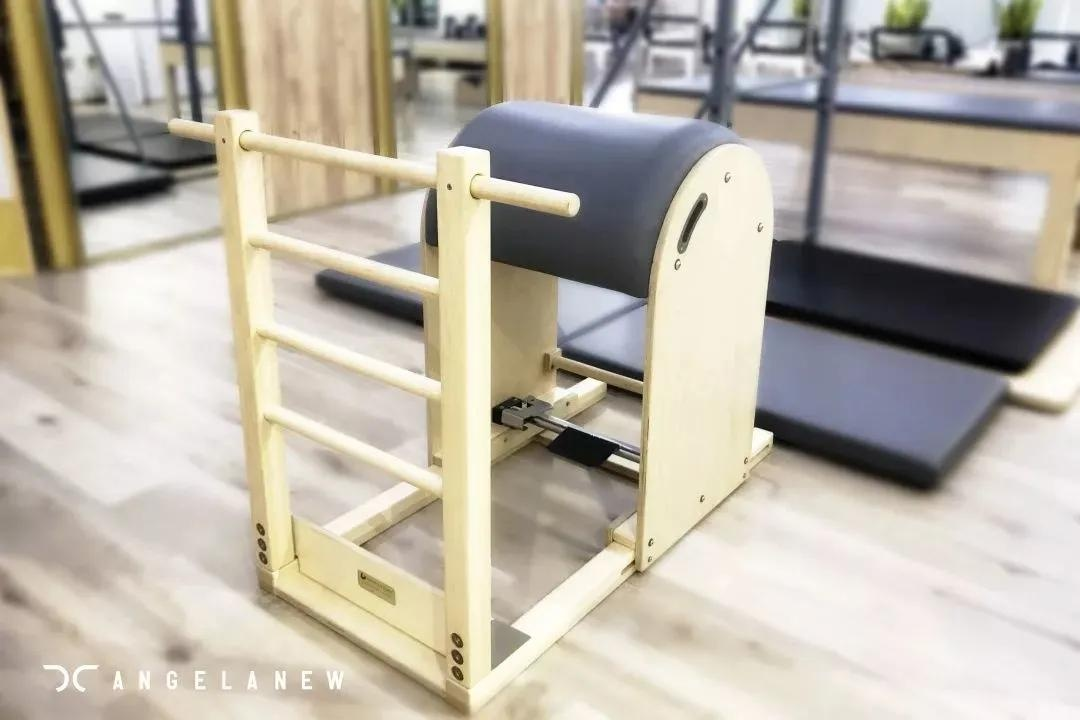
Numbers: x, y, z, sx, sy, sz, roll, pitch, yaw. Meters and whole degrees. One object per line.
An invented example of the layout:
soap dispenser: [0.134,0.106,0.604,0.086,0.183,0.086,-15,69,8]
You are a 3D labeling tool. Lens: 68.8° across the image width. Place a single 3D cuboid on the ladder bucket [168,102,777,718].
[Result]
ladder bucket: [0.053,-0.066,2.051,1.191,1.220,1.478,17,31,32]
